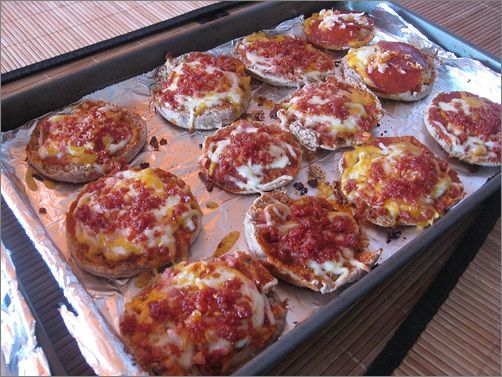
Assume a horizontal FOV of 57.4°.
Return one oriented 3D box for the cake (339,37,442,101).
[{"bbox_3d":[1.505,-1.281,4.923,0.761,0.244,0.715,30,61,26],"label":"cake"}]
